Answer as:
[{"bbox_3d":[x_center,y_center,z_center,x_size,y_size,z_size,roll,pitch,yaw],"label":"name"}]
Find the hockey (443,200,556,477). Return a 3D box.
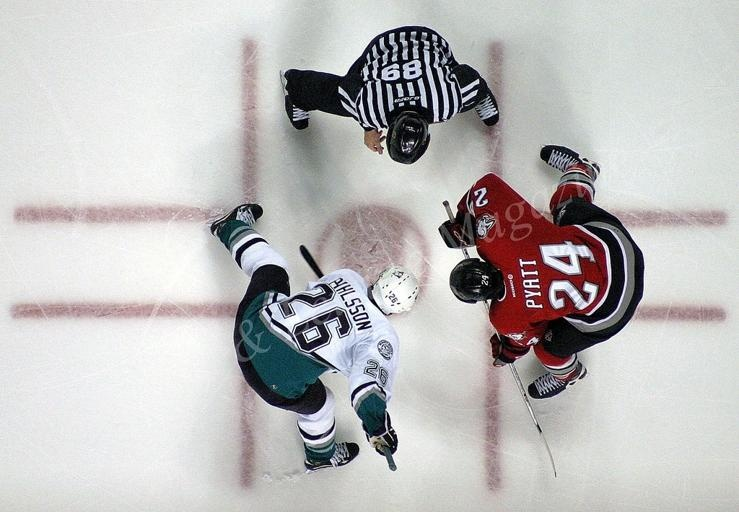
[{"bbox_3d":[1.396,0.941,9.420,0.092,3.267,0.253,-24,3,4],"label":"hockey"}]

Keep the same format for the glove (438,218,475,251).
[{"bbox_3d":[0.885,-0.262,9.467,0.444,0.525,0.099,2,-50,-17],"label":"glove"}]

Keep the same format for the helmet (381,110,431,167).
[{"bbox_3d":[0.385,-1.186,8.711,0.383,0.526,0.171,11,11,0],"label":"helmet"}]

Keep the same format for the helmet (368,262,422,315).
[{"bbox_3d":[0.238,0.324,9.064,0.401,0.500,0.443,56,-24,-13],"label":"helmet"}]

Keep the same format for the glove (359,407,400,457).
[{"bbox_3d":[0.098,1.679,8.348,0.324,0.430,0.276,-4,-23,23],"label":"glove"}]
